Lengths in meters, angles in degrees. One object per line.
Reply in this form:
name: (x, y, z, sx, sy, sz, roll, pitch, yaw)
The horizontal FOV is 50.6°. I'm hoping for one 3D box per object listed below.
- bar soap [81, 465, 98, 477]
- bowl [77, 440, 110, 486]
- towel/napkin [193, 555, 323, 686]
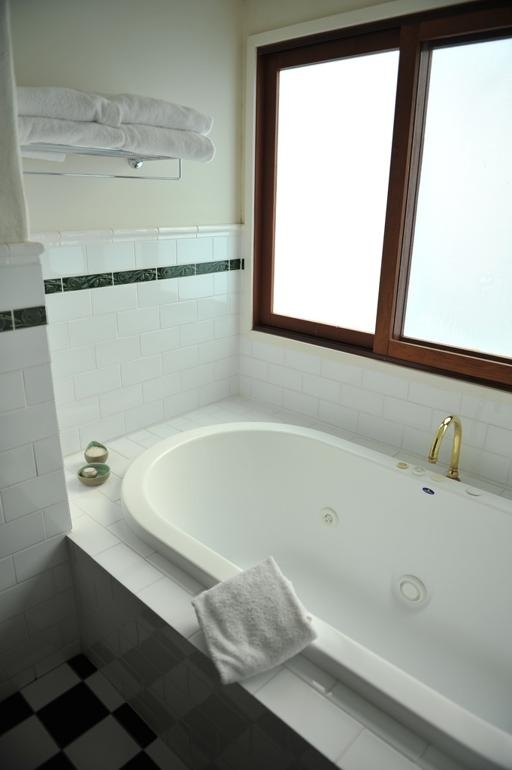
bar soap: (-0.607, 0.318, 1.972, 0.033, 0.018, 0.042, 1, 25, 0)
bowl: (-0.608, 0.294, 2.035, 0.113, 0.103, 0.219, -3, 19, -17)
towel/napkin: (-0.011, 0.536, 1.244, 0.237, 0.114, 0.229, -6, 20, -25)
